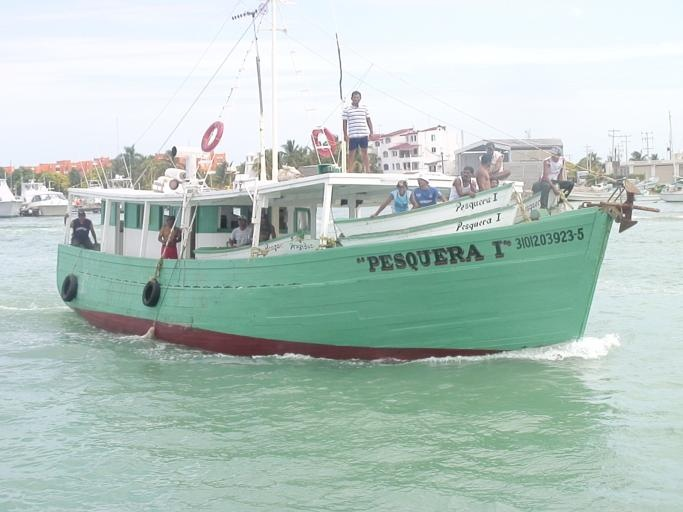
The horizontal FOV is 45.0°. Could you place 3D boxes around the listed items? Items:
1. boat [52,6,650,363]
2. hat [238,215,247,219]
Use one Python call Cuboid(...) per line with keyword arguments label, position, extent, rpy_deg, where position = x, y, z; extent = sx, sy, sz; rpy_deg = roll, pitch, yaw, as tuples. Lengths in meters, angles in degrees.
Cuboid(label="boat", position=(0.115, -0.269, 19.784), extent=(15.216, 7.031, 5.460), rpy_deg=(-2, 1, 36))
Cuboid(label="hat", position=(-2.096, -0.838, 17.269), extent=(0.186, 0.041, 0.139), rpy_deg=(1, -2, 2))
